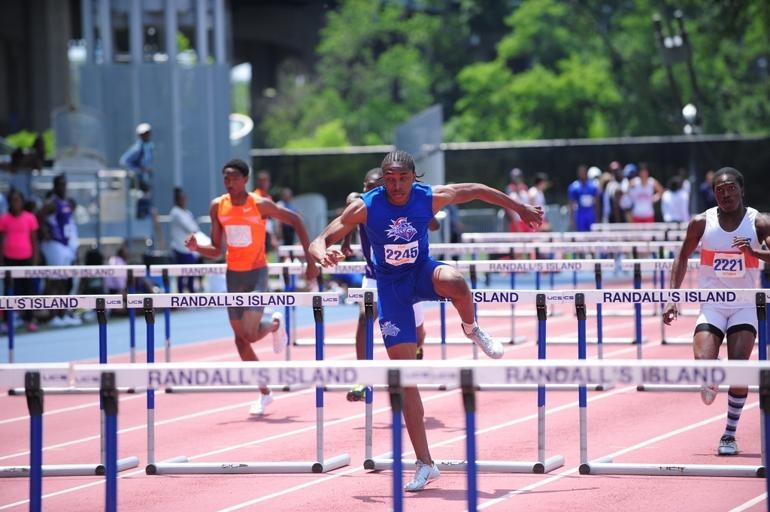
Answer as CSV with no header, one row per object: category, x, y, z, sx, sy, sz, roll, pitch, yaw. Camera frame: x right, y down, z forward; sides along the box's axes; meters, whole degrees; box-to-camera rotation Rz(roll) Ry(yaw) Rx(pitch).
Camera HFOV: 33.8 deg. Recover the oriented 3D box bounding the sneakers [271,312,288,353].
sneakers,-1.560,1.074,18.188,0.192,0.567,0.247,6,20,30
